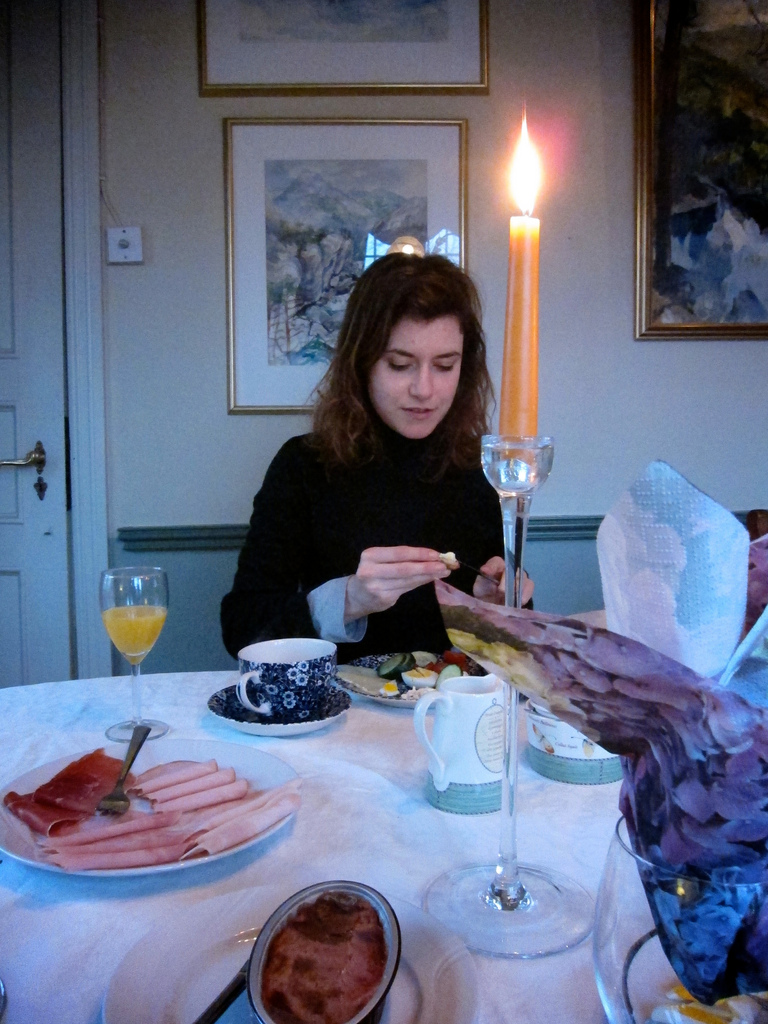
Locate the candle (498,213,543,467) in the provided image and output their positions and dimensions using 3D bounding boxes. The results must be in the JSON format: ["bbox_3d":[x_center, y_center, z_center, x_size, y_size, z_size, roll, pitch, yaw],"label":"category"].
[{"bbox_3d":[0.079,-0.108,0.493,0.026,0.125,0.021,-5,9,-15],"label":"candle"}]

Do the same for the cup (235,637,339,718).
[{"bbox_3d":[-0.109,0.173,0.941,0.073,0.057,0.092,5,7,36],"label":"cup"}]

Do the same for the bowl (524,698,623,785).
[{"bbox_3d":[0.186,0.218,0.811,0.081,0.059,0.083,-3,-2,0],"label":"bowl"}]

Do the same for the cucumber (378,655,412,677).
[{"bbox_3d":[0.015,0.196,1.098,0.029,0.012,0.027,-18,-1,5],"label":"cucumber"}]

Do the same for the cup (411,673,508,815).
[{"bbox_3d":[0.067,0.187,0.754,0.073,0.114,0.120,9,17,32],"label":"cup"}]
